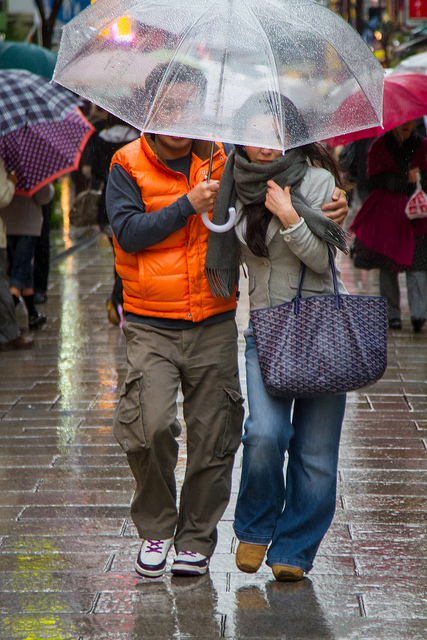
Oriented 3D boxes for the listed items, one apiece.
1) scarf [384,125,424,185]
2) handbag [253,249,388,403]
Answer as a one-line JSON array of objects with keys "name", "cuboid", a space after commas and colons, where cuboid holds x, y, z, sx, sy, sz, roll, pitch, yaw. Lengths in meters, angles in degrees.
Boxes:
[{"name": "scarf", "cuboid": [1.652, -1.437, 6.469, 0.337, 0.469, 0.205, 0, 5, 16]}, {"name": "handbag", "cuboid": [0.347, -0.015, 2.389, 0.420, 0.557, 0.165, -4, -14, 10]}]
